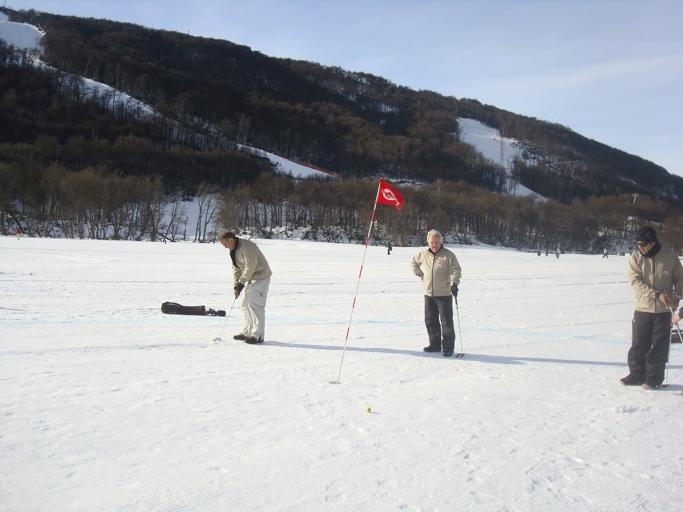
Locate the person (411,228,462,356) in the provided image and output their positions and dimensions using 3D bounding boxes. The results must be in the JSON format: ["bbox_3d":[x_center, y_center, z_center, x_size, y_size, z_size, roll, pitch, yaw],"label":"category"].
[{"bbox_3d":[1.986,0.748,15.074,0.576,2.473,1.118,-10,17,-41],"label":"person"}]

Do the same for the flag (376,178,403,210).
[{"bbox_3d":[1.150,-1.460,16.986,0.588,0.655,0.843,3,14,5],"label":"flag"}]

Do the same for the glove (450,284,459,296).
[{"bbox_3d":[2.276,0.696,14.652,0.144,0.225,0.067,13,20,29],"label":"glove"}]

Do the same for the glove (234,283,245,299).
[{"bbox_3d":[-2.080,0.711,14.979,0.160,0.300,0.067,4,11,-23],"label":"glove"}]

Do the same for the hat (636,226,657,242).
[{"bbox_3d":[5.436,-0.376,13.069,0.233,0.330,0.319,-9,-5,34],"label":"hat"}]

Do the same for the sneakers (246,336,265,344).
[{"bbox_3d":[-1.793,1.749,15.278,0.331,0.152,0.139,9,-9,-39],"label":"sneakers"}]

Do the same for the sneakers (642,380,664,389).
[{"bbox_3d":[5.518,2.260,12.989,0.338,0.156,0.129,-3,-3,-10],"label":"sneakers"}]

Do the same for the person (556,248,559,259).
[{"bbox_3d":[22.437,-0.286,76.185,0.329,0.826,0.487,6,15,8],"label":"person"}]

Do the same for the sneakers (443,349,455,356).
[{"bbox_3d":[2.175,1.952,14.822,0.116,0.098,0.291,3,-10,-29],"label":"sneakers"}]

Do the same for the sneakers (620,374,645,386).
[{"bbox_3d":[5.201,2.225,13.119,0.396,0.188,0.170,3,17,16],"label":"sneakers"}]

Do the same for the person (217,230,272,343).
[{"bbox_3d":[-1.932,0.644,15.157,0.858,2.336,0.634,5,13,15],"label":"person"}]
